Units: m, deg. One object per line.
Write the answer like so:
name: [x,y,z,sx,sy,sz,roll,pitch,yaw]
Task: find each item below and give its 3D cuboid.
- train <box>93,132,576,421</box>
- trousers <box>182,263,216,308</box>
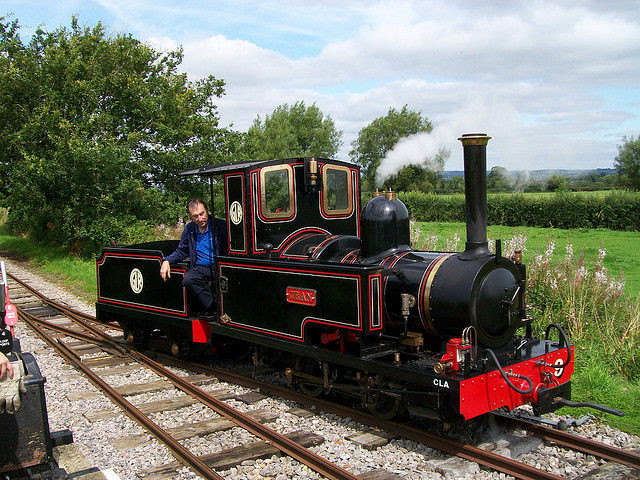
train: [-0.427,0.389,7.643,8.057,3.118,2.434,2,1,42]
trousers: [-1.934,0.709,7.462,0.505,0.652,0.273,0,5,-7]
